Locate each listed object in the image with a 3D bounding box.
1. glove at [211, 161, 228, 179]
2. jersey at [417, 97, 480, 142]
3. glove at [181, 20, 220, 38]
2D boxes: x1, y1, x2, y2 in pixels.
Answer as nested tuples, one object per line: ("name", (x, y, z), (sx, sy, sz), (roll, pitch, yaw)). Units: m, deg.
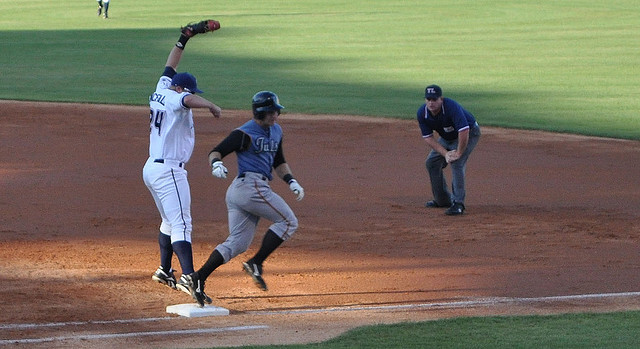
("glove", (-2.498, -0.119, 25.291), (0.337, 0.467, 0.538), (-1, 12, -6))
("jersey", (3.937, -1.613, 29.978), (1.726, 0.940, 1.499), (-12, 5, 43))
("glove", (-3.125, -3.802, 26.514), (0.910, 0.242, 0.480), (-8, 12, -6))
